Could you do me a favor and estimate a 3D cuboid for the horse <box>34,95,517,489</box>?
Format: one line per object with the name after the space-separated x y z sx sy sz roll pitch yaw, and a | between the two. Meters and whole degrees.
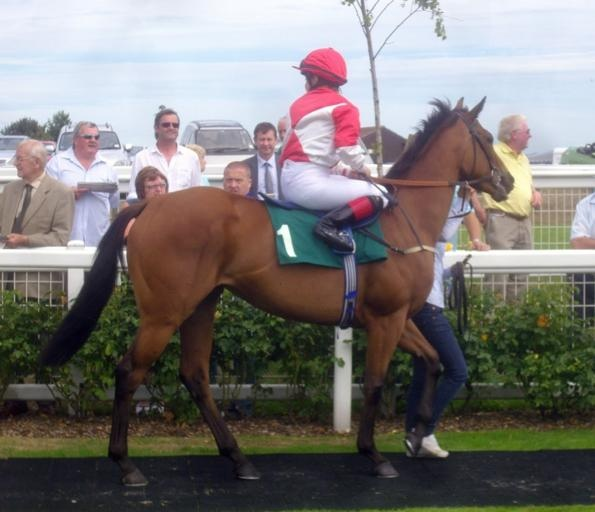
-0.127 0.195 7.532 3.039 2.535 0.755 -1 8 -11 | horse

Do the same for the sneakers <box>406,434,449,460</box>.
0.944 1.379 7.971 0.384 0.151 0.123 -1 0 10 | sneakers

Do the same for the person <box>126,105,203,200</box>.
-1.211 -0.638 10.070 0.699 1.356 0.413 0 -8 -12 | person

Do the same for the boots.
0.328 -0.234 7.416 0.332 0.200 0.598 13 -15 -26 | boots
